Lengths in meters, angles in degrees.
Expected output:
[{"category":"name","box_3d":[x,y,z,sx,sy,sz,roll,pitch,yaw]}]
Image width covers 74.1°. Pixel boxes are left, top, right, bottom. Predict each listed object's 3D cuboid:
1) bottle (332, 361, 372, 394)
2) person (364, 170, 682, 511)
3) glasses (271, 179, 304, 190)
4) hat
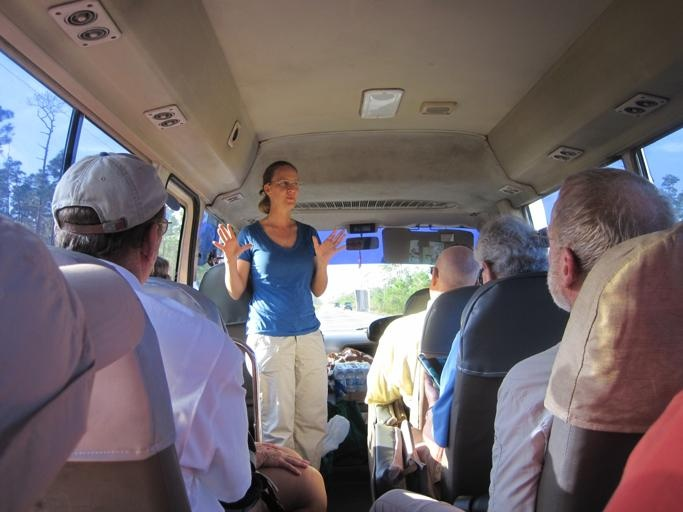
[{"category":"bottle","box_3d":[0.064,1.141,4.233,0.298,0.170,0.308,0,-2,0]},{"category":"person","box_3d":[0.435,0.193,1.679,0.684,1.086,0.905,-1,3,-8]},{"category":"glasses","box_3d":[-0.401,-0.497,3.194,0.157,0.067,0.043,2,-6,-19]},{"category":"hat","box_3d":[-0.693,-0.194,1.420,0.215,0.171,0.310,5,26,14]}]
